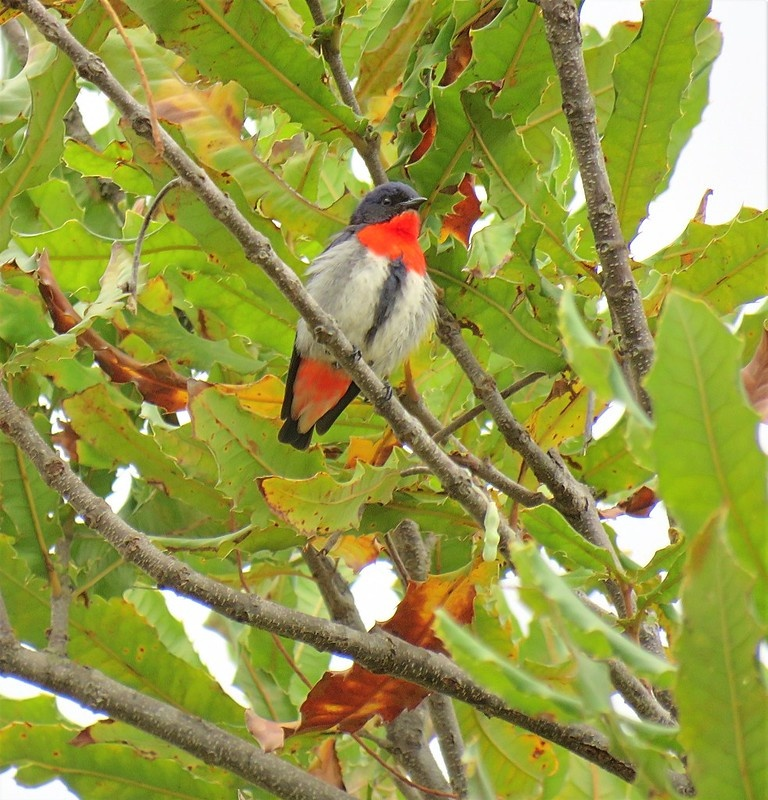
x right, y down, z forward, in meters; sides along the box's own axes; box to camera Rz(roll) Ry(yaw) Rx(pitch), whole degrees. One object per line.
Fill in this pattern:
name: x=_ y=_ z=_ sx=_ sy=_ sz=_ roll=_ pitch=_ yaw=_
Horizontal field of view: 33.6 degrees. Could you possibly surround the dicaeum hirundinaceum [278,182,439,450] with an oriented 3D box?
dicaeum hirundinaceum: x=-0.099 y=-0.335 z=4.557 sx=0.427 sy=0.751 sz=0.727 roll=30 pitch=-50 yaw=-24
